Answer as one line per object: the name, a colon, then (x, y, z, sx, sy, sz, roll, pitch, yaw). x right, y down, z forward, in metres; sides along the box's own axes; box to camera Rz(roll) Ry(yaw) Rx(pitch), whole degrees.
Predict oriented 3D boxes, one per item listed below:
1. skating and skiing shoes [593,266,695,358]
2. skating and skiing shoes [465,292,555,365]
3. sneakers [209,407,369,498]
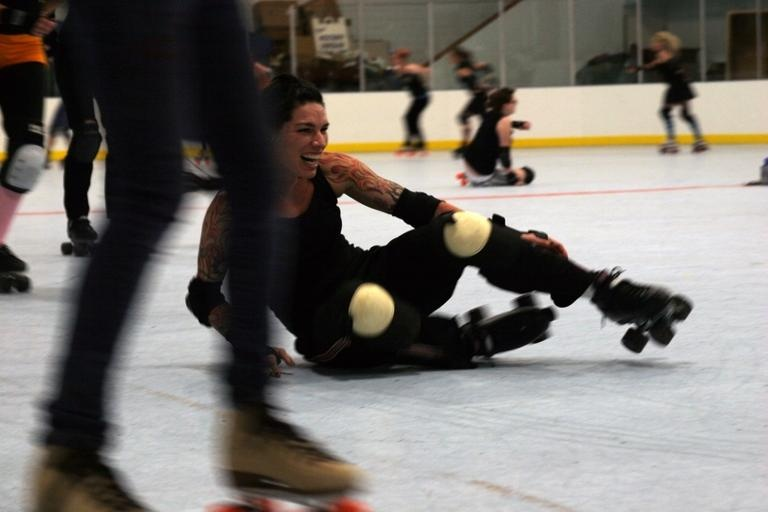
skating and skiing shoes: (0.740, 0.152, 1.897, 0.362, 0.169, 0.141, 23, 28, 0)
skating and skiing shoes: (0.399, 0.190, 1.974, 0.234, 0.131, 0.393, -6, -14, -29)
sneakers: (-0.086, 0.297, 0.985, 0.323, 0.136, 0.088, 0, 5, 0)
